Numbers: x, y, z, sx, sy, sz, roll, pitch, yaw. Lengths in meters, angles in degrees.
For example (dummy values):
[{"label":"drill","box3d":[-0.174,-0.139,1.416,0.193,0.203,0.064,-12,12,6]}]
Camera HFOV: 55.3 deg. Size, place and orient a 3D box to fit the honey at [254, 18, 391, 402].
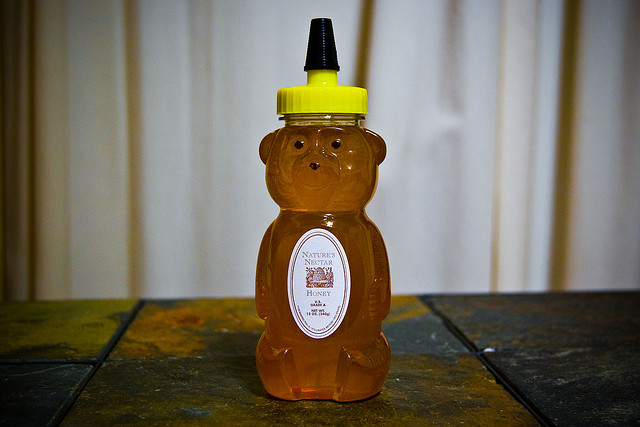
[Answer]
[{"label":"honey","box3d":[0.006,0.035,1.130,0.275,0.717,0.216,0,0,0]}]
